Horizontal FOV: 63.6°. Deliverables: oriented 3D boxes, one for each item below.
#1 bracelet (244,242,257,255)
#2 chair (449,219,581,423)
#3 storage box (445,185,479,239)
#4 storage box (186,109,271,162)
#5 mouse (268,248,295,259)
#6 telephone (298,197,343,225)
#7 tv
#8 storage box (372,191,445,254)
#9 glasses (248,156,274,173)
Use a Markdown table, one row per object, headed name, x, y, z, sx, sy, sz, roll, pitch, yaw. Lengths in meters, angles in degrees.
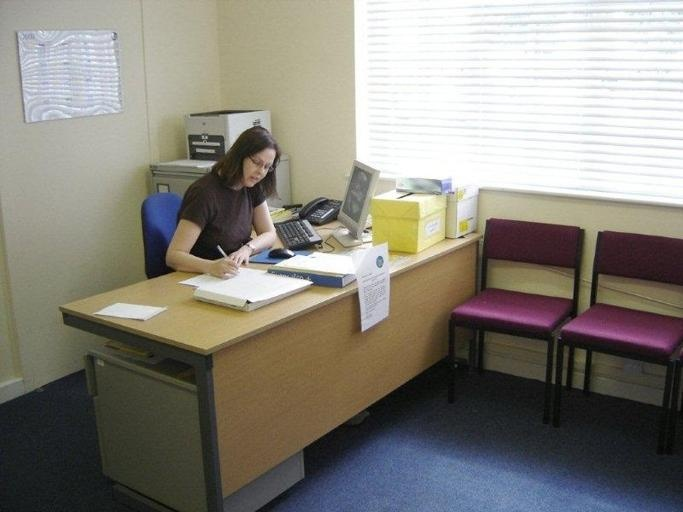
| name | x | y | z | sx | sy | sz | roll | pitch | yaw |
| --- | --- | --- | --- | --- | --- | --- | --- | --- | --- |
| bracelet | -0.482 | -0.042 | 2.889 | 0.057 | 0.054 | 0.059 | 34 | 32 | 32 |
| chair | 1.012 | 0.335 | 3.231 | 0.590 | 1.013 | 0.632 | 7 | 17 | 31 |
| storage box | 0.712 | -0.297 | 3.452 | 0.178 | 0.296 | 0.334 | 8 | 16 | 35 |
| storage box | -0.792 | -0.892 | 3.953 | 0.375 | 0.337 | 0.523 | 7 | 16 | 26 |
| mouse | -0.316 | -0.017 | 2.851 | 0.089 | 0.029 | 0.065 | -3 | 13 | -6 |
| telephone | -0.119 | -0.302 | 3.585 | 0.179 | 0.086 | 0.236 | 16 | 35 | 40 |
| tv | 0.095 | -0.315 | 3.322 | 0.295 | 0.470 | 0.487 | -11 | 21 | -16 |
| storage box | 0.403 | -0.217 | 3.286 | 0.328 | 0.286 | 0.438 | 8 | 16 | 34 |
| glasses | -0.429 | -0.488 | 2.821 | 0.085 | 0.027 | 0.088 | 7 | 28 | -39 |
